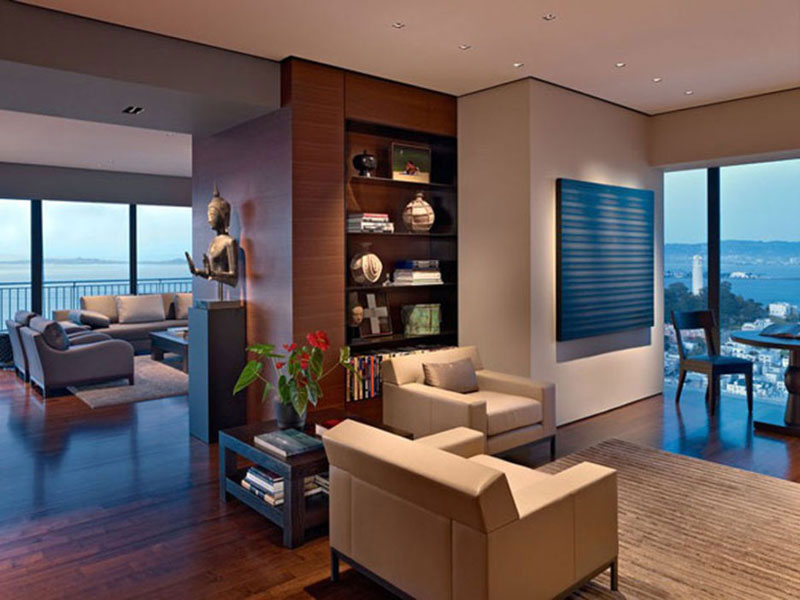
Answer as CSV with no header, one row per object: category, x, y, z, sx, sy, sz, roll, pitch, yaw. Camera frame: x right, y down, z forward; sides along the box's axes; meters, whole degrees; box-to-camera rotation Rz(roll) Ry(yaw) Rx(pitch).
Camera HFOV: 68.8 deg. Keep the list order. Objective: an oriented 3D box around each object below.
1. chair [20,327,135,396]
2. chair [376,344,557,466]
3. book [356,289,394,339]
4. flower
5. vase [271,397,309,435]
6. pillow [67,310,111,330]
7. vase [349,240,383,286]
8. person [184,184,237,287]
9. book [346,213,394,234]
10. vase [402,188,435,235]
chair,-4.205,0.703,7.601,0.794,0.572,1.365,-2,3,-35
chair,0.523,0.706,5.147,1.078,0.885,1.085,-1,-1,-38
book,-0.265,0.166,5.949,0.095,0.417,0.402,-8,-4,43
flower,-0.746,0.533,4.689,0.809,0.428,0.896,0,4,25
vase,-0.827,0.889,4.494,0.237,0.216,0.244,1,0,-7
pillow,-4.990,0.316,9.365,0.383,0.166,0.399,16,2,-26
vase,-0.327,-0.361,5.717,0.368,0.476,0.382,0,0,4
person,-1.877,-0.603,5.822,0.487,0.982,0.657,-4,12,-16
book,-0.298,-0.738,5.685,0.467,0.197,0.217,-4,13,-15
vase,0.224,-0.897,6.085,0.392,0.472,0.385,0,0,-44
